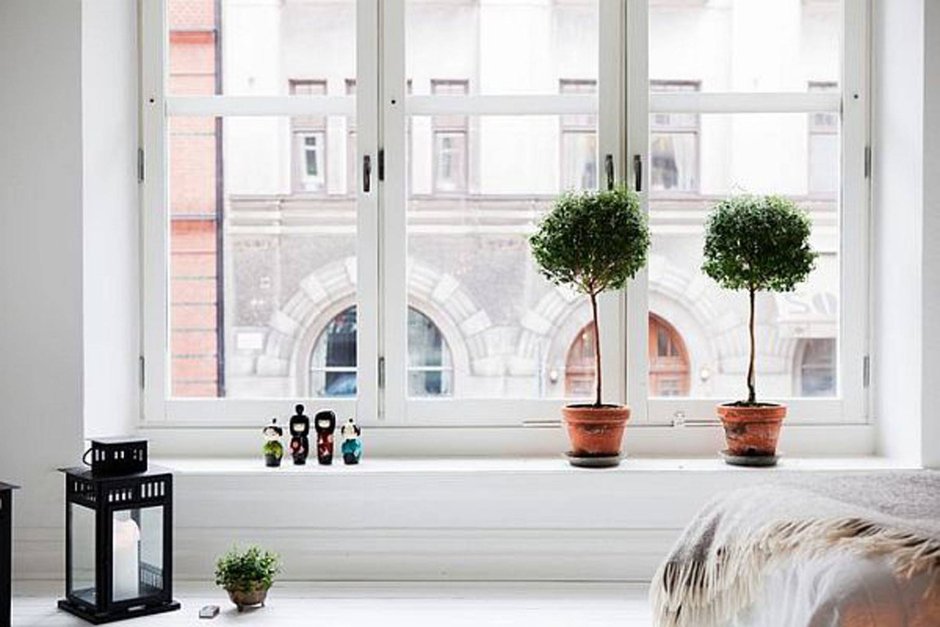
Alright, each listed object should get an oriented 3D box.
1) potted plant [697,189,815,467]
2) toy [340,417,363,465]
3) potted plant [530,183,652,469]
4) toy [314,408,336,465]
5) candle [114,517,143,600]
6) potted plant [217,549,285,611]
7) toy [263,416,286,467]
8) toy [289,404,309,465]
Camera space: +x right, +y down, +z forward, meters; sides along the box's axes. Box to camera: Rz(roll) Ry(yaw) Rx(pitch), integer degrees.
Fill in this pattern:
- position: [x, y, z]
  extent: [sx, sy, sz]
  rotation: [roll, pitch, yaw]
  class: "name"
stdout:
- position: [1.173, 0.069, 6.403]
  extent: [0.455, 1.080, 0.303]
  rotation: [0, 1, 8]
  class: "potted plant"
- position: [-0.486, 0.525, 6.456]
  extent: [0.087, 0.173, 0.179]
  rotation: [0, 1, -4]
  class: "toy"
- position: [0.489, 0.055, 6.397]
  extent: [0.480, 1.112, 0.308]
  rotation: [0, 1, 5]
  class: "potted plant"
- position: [-0.589, 0.505, 6.427]
  extent: [0.082, 0.216, 0.119]
  rotation: [0, 1, -6]
  class: "toy"
- position: [-1.307, 0.923, 6.005]
  extent: [0.106, 0.337, 0.032]
  rotation: [0, 1, -18]
  class: "candle"
- position: [-0.858, 1.047, 6.144]
  extent: [0.205, 0.223, 0.233]
  rotation: [1, -17, -12]
  class: "potted plant"
- position: [-0.803, 0.528, 6.452]
  extent: [0.082, 0.180, 0.193]
  rotation: [0, 1, -6]
  class: "toy"
- position: [-0.694, 0.493, 6.426]
  extent: [0.082, 0.241, 0.105]
  rotation: [0, 1, -7]
  class: "toy"
